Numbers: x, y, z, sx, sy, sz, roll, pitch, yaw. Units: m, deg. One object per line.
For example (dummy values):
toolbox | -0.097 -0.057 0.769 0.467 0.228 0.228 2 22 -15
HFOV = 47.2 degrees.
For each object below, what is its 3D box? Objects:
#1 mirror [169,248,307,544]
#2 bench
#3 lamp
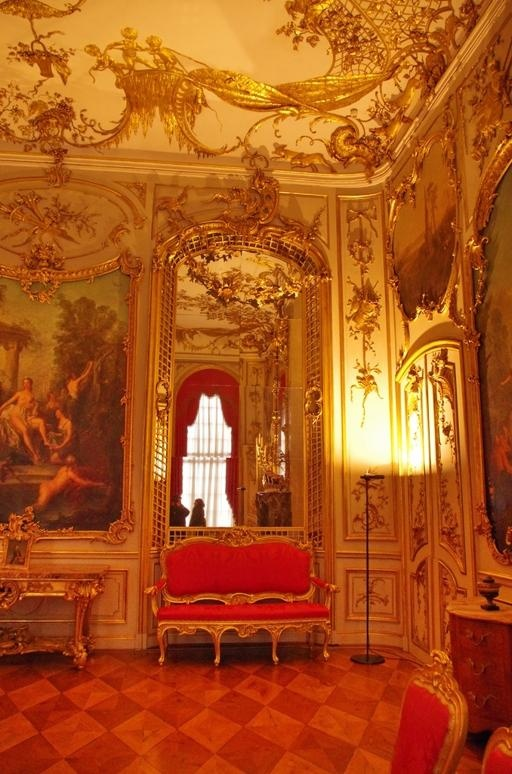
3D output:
mirror | -0.167 0.041 6.241 1.618 3.701 0.090 -2 11 -5
bench | -0.124 1.903 5.288 1.543 1.089 0.672 2 -13 -9
lamp | 1.027 1.613 5.431 0.323 1.639 0.742 -2 -11 12
